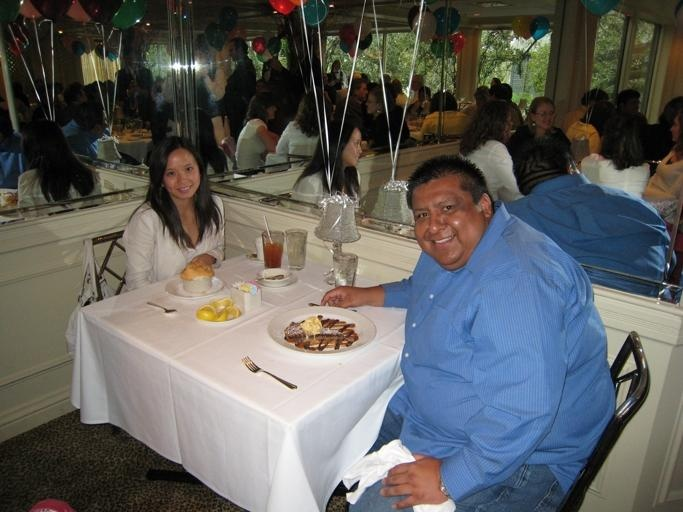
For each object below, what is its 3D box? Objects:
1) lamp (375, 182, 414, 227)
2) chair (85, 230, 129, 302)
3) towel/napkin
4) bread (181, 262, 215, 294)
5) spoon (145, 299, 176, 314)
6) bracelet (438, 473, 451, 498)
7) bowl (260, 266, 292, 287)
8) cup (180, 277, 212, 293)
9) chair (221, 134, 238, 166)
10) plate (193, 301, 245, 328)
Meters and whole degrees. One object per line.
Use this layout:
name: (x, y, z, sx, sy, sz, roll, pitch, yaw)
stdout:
lamp: (0.243, -0.281, 2.153, 0.213, 0.217, 0.145, 25, 61, 19)
chair: (-1.142, 0.039, 2.183, 0.229, 0.308, 0.246, 10, 13, 22)
towel/napkin: (0.144, 0.617, 1.275, 0.245, 0.085, 0.204, -39, 69, -7)
bread: (-0.571, 0.091, 1.755, 0.114, 0.095, 0.117, 10, 25, 16)
spoon: (-0.695, 0.172, 1.654, 0.180, 0.029, 0.045, 15, 25, 41)
bracelet: (0.275, 0.615, 1.166, 0.017, 0.040, 0.046, -32, 47, 5)
bowl: (-0.288, 0.091, 1.843, 0.092, 0.023, 0.089, 3, 29, -2)
cup: (-0.573, 0.117, 1.704, 0.073, 0.048, 0.075, 2, 16, -1)
chair: (-0.737, -0.701, 2.860, 0.101, 0.177, 0.107, -28, 40, -12)
plate: (-0.436, 0.206, 1.558, 0.098, 0.032, 0.098, -7, 19, -29)
